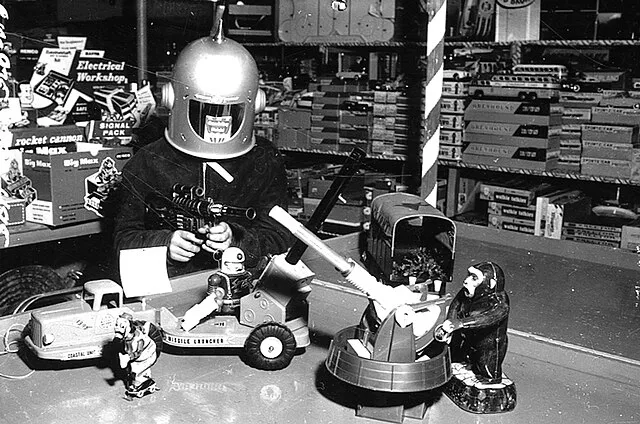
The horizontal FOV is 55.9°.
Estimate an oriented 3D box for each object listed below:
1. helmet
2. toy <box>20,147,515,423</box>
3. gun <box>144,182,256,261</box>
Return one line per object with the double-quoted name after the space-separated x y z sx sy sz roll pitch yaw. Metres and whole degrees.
-0.303 -0.357 1.741 0.304 0.307 0.306 -8 37 -28 "helmet"
-0.067 0.236 1.572 1.019 0.478 0.721 3 16 3 "toy"
-0.351 0.015 1.739 0.330 0.172 0.080 8 17 22 "gun"
